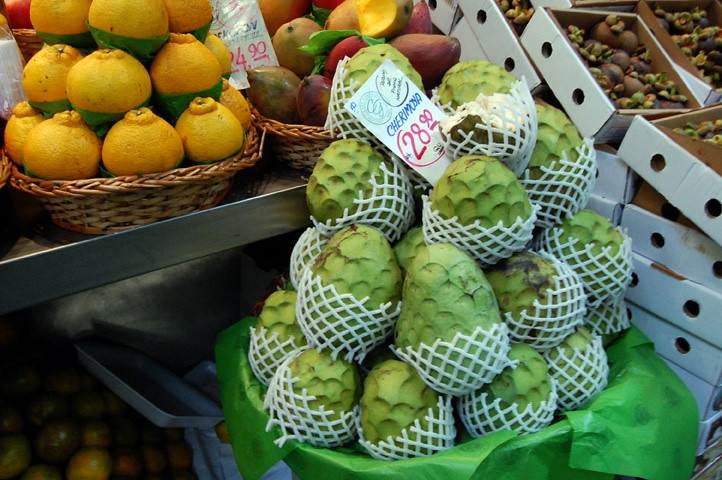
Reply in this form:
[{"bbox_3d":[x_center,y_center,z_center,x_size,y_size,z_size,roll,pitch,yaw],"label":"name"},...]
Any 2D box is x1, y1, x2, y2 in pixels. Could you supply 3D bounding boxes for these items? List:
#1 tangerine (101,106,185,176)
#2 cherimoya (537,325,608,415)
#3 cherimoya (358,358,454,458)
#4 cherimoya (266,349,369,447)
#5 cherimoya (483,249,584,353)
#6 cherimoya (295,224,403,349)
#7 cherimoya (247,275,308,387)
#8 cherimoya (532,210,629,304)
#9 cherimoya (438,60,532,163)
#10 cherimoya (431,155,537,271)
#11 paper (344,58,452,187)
[{"bbox_3d":[-0.481,-0.210,1.265,0.158,0.151,0.154,-26,59,-27],"label":"tangerine"},{"bbox_3d":[0.486,0.283,1.316,0.146,0.156,0.181,-22,31,2],"label":"cherimoya"},{"bbox_3d":[0.108,0.354,1.196,0.163,0.159,0.202,-2,58,18],"label":"cherimoya"},{"bbox_3d":[-0.100,0.337,1.176,0.195,0.159,0.165,4,47,-8],"label":"cherimoya"},{"bbox_3d":[0.384,0.132,1.282,0.217,0.179,0.187,35,59,-2],"label":"cherimoya"},{"bbox_3d":[-0.027,0.105,1.182,0.223,0.171,0.219,-18,53,-25],"label":"cherimoya"},{"bbox_3d":[-0.164,0.212,1.335,0.161,0.131,0.202,3,74,17],"label":"cherimoya"},{"bbox_3d":[0.525,0.018,1.381,0.208,0.191,0.210,51,31,-1],"label":"cherimoya"},{"bbox_3d":[0.276,-0.281,1.233,0.192,0.153,0.169,53,43,-5],"label":"cherimoya"},{"bbox_3d":[0.244,-0.062,1.224,0.199,0.192,0.195,-17,86,12],"label":"cherimoya"},{"bbox_3d":[0.092,-0.269,1.368,0.329,0.107,0.199,42,82,-7],"label":"paper"}]
